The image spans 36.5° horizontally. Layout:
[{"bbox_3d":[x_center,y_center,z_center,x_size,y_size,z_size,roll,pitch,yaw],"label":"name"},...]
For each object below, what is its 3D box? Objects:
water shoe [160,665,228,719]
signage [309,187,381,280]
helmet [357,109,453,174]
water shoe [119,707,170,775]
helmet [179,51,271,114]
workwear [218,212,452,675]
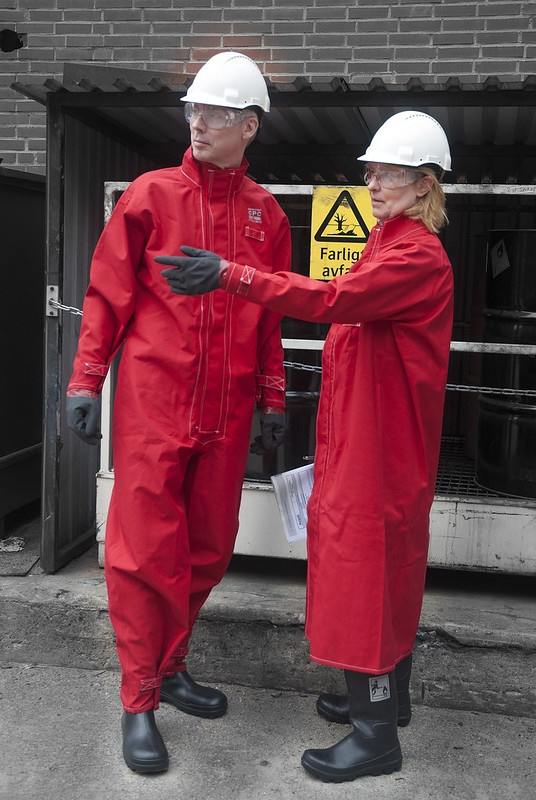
[{"bbox_3d":[-0.241,0.998,2.798,0.292,0.184,0.106,4,8,12],"label":"water shoe"},{"bbox_3d":[0.298,-0.659,3.220,0.297,0.359,0.010,-4,14,-23],"label":"signage"},{"bbox_3d":[0.382,-0.691,2.245,0.227,0.120,0.164,6,14,-22],"label":"helmet"},{"bbox_3d":[-0.364,1.001,2.361,0.090,0.138,0.234,0,-9,-14],"label":"water shoe"},{"bbox_3d":[-0.121,-0.913,2.327,0.286,0.148,0.213,-12,29,-43],"label":"helmet"},{"bbox_3d":[0.207,0.144,2.238,0.526,1.198,0.371,4,7,11],"label":"workwear"}]
